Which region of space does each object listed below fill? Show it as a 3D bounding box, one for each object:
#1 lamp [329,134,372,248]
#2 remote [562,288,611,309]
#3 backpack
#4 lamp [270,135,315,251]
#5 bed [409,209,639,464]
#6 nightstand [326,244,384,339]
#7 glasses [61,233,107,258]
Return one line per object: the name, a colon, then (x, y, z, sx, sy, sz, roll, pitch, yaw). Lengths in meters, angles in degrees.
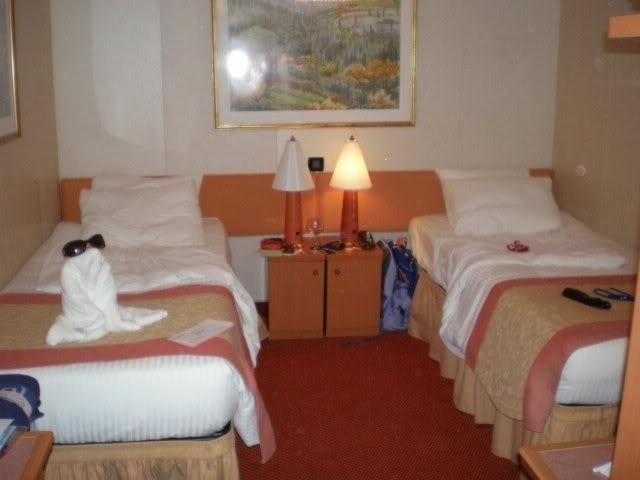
lamp: (0.245, -0.408, 4.236, 0.301, 0.879, 0.274, -10, 18, -23)
remote: (1.523, 0.329, 2.908, 0.182, 0.051, 0.103, 22, 16, 33)
backpack: (0.650, 0.379, 4.264, 0.169, 0.617, 0.464, -3, -6, 28)
lamp: (-0.253, -0.390, 4.160, 0.320, 0.890, 0.370, -14, 19, -32)
bed: (1.196, 0.580, 3.266, 0.900, 0.480, 1.541, -1, 28, 1)
nightstand: (0.249, 0.408, 4.253, 0.533, 0.849, 0.577, -1, 13, -3)
glasses: (-1.140, 0.017, 2.490, 0.181, 0.071, 0.134, -29, 28, -30)
